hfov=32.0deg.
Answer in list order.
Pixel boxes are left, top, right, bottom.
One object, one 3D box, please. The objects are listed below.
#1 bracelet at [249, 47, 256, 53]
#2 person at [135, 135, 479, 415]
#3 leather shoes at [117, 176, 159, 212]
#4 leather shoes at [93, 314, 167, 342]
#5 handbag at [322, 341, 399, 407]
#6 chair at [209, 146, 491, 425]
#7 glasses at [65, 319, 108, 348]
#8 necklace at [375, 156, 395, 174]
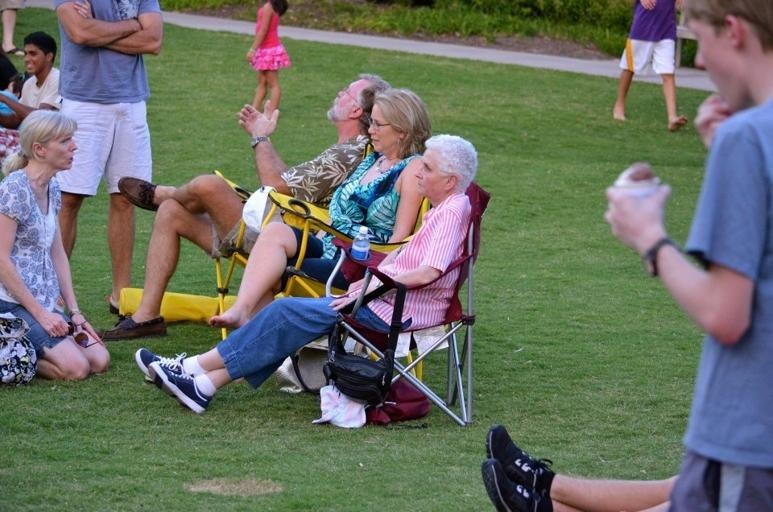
[{"bbox_3d":[-1.568,-2.440,15.830,0.093,0.049,0.123,0,4,-1],"label":"bracelet"},{"bbox_3d":[-0.629,-0.042,9.042,2.487,1.551,1.042,-30,39,-34],"label":"person"},{"bbox_3d":[-1.828,-0.478,10.179,0.468,0.183,0.207,23,25,34],"label":"leather shoes"},{"bbox_3d":[-1.859,0.533,9.809,0.510,0.178,0.175,-2,-4,-16],"label":"leather shoes"},{"bbox_3d":[-0.180,0.808,8.844,0.321,0.169,0.402,18,27,7],"label":"handbag"},{"bbox_3d":[-0.090,0.259,10.025,2.441,2.378,1.173,5,-6,-8],"label":"chair"},{"bbox_3d":[-2.087,0.563,9.338,0.195,0.063,0.188,29,10,-27],"label":"glasses"},{"bbox_3d":[-0.011,-0.645,9.604,0.102,0.143,0.054,0,-32,41],"label":"necklace"}]
